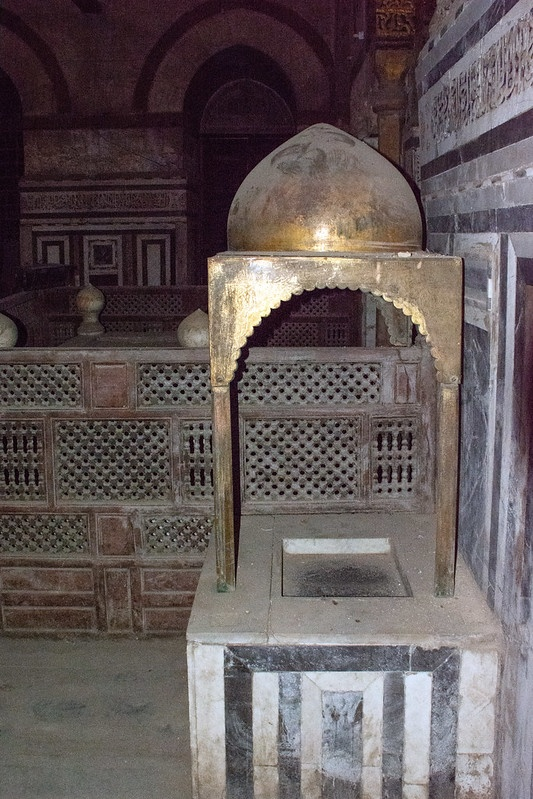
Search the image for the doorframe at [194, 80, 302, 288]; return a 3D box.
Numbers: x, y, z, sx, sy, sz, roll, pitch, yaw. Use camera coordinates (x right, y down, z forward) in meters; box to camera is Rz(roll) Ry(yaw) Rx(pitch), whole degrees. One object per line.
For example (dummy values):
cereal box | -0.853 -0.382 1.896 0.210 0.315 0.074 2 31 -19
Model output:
doorframe | -0.189 -1.967 7.664 0.895 2.710 0.049 -1 -29 -6
